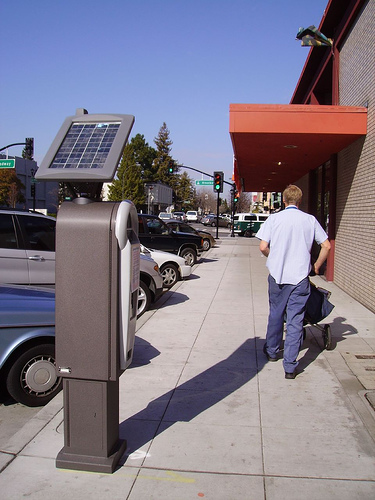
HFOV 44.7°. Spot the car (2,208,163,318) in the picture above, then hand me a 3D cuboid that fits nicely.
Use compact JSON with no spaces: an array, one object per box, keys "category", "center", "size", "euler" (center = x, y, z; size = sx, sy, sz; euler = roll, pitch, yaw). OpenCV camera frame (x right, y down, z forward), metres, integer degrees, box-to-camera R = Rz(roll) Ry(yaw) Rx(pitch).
[{"category":"car","center":[-1.645,0.070,7.284],"size":[2.707,1.274,1.330],"euler":[0,1,-7]}]

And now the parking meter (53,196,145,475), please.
[{"category":"parking meter","center":[-0.559,0.530,2.782],"size":[0.470,1.697,0.201],"euler":[1,3,13]}]

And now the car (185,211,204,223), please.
[{"category":"car","center":[0.814,-4.985,70.260],"size":[2.020,1.296,3.434],"euler":[1,12,9]}]

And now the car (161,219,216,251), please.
[{"category":"car","center":[0.396,-0.639,18.697],"size":[2.781,0.936,1.136],"euler":[-3,10,-16]}]

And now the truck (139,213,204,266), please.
[{"category":"truck","center":[-0.616,-0.329,14.873],"size":[2.454,1.157,1.214],"euler":[-3,10,-18]}]

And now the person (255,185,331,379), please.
[{"category":"person","center":[1.079,0.342,4.900],"size":[0.762,1.820,1.037],"euler":[0,1,13]}]

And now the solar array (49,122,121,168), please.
[{"category":"solar array","center":[-0.654,-0.680,2.972],"size":[0.462,0.499,0.028],"euler":[5,-28,20]}]

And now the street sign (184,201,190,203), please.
[{"category":"street sign","center":[-0.184,-12.054,114.125],"size":[1.506,0.427,1.096],"euler":[-2,4,-33]}]
